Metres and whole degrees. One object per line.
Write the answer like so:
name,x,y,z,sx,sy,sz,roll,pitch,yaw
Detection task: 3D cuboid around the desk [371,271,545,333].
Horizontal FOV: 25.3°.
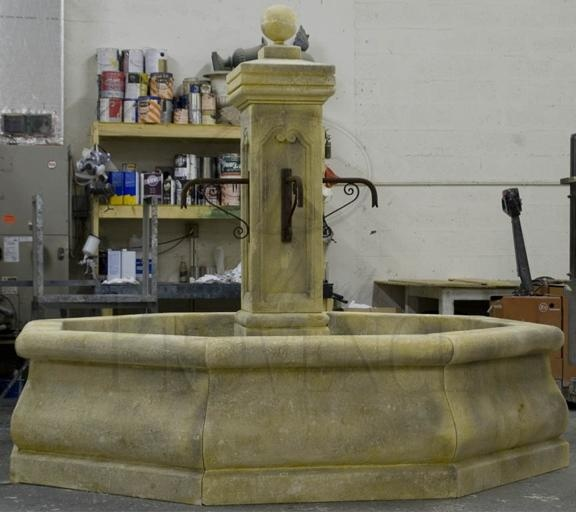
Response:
desk,1.577,0.435,12.581,1.010,0.475,1.733,-2,6,-18

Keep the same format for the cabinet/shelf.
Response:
cabinet/shelf,-1.200,-0.499,12.029,1.392,1.477,0.510,0,-3,-10

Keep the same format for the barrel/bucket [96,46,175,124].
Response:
barrel/bucket,-1.493,-1.563,12.525,0.656,0.772,0.677,0,-8,0

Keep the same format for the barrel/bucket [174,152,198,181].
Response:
barrel/bucket,-0.972,-0.816,12.471,0.261,0.360,0.288,1,-1,-3
